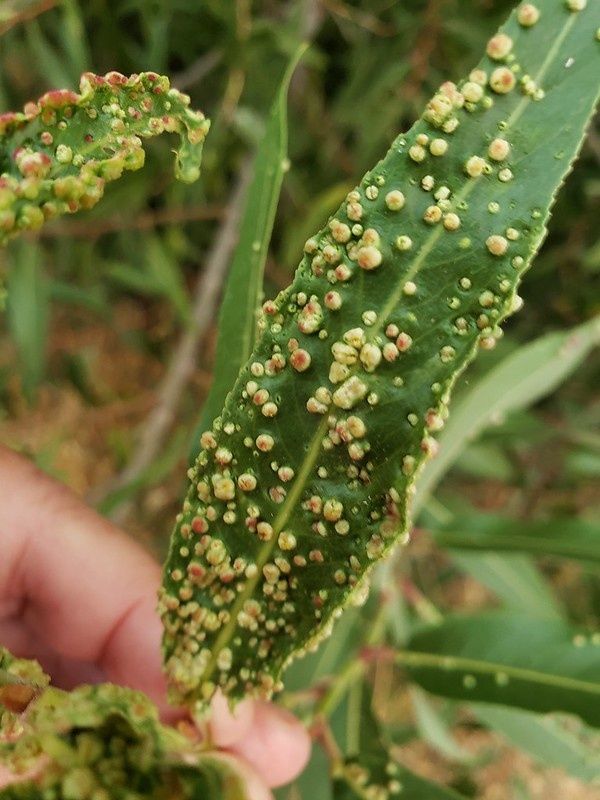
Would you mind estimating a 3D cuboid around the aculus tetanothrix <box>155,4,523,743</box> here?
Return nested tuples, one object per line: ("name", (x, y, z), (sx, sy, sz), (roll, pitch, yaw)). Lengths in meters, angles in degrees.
("aculus tetanothrix", (0.070, -0.002, 0.794), (0.229, 0.643, 0.081), (36, 9, 18))
